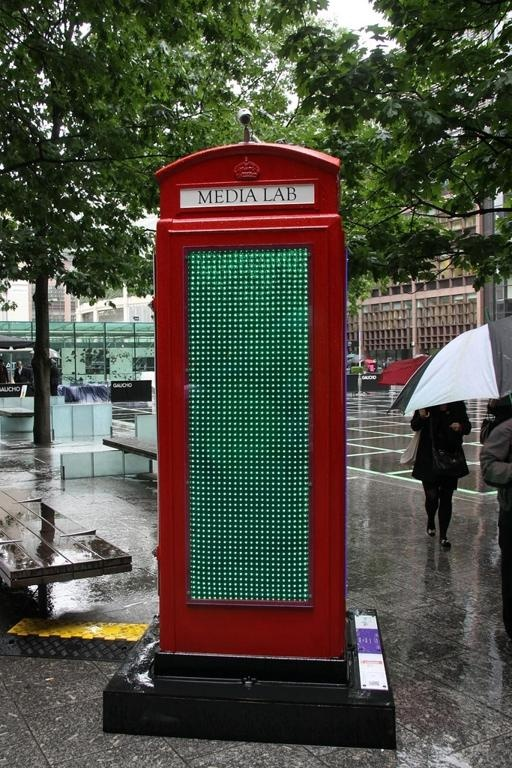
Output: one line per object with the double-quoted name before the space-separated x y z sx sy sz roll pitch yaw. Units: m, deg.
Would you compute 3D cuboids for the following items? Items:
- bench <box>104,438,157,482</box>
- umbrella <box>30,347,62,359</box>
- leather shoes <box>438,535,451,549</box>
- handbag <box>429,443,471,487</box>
"bench" -1.962 1.263 10.970 0.822 0.610 2.643 0 -1 -17
"umbrella" -6.831 -1.001 22.121 0.936 0.313 0.931 2 -14 -4
"leather shoes" 2.005 1.670 7.086 0.097 0.182 0.099 -7 -5 41
"handbag" 2.037 0.820 7.125 0.345 0.307 0.183 0 -1 14
